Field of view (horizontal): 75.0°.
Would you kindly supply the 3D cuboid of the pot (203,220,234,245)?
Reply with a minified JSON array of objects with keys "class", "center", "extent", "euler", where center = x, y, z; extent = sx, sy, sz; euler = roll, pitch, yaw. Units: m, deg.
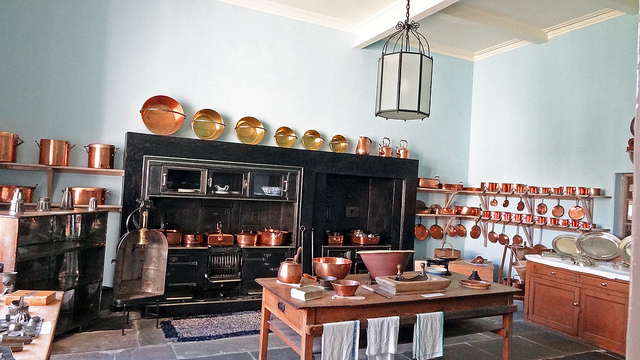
[{"class":"pot","center":[-1.977,1.012,8.102],"extent":[0.632,0.361,0.650],"euler":[6,4,0]}]

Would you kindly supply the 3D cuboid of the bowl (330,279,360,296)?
[{"class":"bowl","center":[0.329,1.463,5.634],"extent":[0.376,0.174,0.295],"euler":[0,-3,-3]}]

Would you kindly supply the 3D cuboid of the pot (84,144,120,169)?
[{"class":"pot","center":[-4.084,-0.419,7.599],"extent":[0.780,0.457,0.499],"euler":[2,-4,-29]}]

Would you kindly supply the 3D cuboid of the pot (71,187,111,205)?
[{"class":"pot","center":[-4.063,0.327,7.332],"extent":[0.582,0.239,0.326],"euler":[1,-5,-14]}]

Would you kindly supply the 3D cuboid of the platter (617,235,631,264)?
[{"class":"platter","center":[5.054,1.169,6.933],"extent":[0.151,0.420,0.247],"euler":[-3,-4,39]}]

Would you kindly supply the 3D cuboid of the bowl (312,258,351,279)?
[{"class":"bowl","center":[0.161,1.243,5.948],"extent":[0.384,0.146,0.351],"euler":[1,-6,0]}]

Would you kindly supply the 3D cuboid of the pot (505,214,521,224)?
[{"class":"pot","center":[4.150,0.835,8.927],"extent":[0.168,0.211,0.152],"euler":[0,-13,25]}]

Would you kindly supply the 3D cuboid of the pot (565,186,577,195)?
[{"class":"pot","center":[4.883,0.211,8.128],"extent":[0.164,0.147,0.150],"euler":[0,-2,0]}]

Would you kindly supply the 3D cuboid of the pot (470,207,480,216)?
[{"class":"pot","center":[3.578,0.734,9.635],"extent":[0.189,0.190,0.107],"euler":[1,-4,-28]}]

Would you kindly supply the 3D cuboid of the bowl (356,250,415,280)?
[{"class":"bowl","center":[0.957,1.213,6.225],"extent":[0.720,0.417,0.616],"euler":[2,0,-9]}]

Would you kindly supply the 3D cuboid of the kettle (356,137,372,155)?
[{"class":"kettle","center":[0.949,-0.727,8.979],"extent":[0.430,0.355,0.284],"euler":[5,-6,-33]}]

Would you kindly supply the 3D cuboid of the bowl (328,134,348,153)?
[{"class":"bowl","center":[0.398,-0.797,8.956],"extent":[0.449,0.374,0.112],"euler":[1,-3,-25]}]

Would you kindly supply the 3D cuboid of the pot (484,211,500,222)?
[{"class":"pot","center":[3.848,0.817,9.299],"extent":[0.279,0.216,0.323],"euler":[1,3,8]}]

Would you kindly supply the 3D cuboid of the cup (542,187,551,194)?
[{"class":"cup","center":[4.617,0.219,8.498],"extent":[0.155,0.130,0.145],"euler":[0,-3,0]}]

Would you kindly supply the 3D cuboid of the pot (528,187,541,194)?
[{"class":"pot","center":[4.394,0.212,8.554],"extent":[0.136,0.108,0.136],"euler":[1,2,0]}]

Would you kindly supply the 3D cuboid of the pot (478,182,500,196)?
[{"class":"pot","center":[3.785,0.210,9.337],"extent":[0.354,0.209,0.346],"euler":[1,-2,0]}]

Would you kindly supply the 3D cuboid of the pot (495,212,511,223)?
[{"class":"pot","center":[3.992,0.786,9.031],"extent":[0.182,0.158,0.156],"euler":[-2,7,-40]}]

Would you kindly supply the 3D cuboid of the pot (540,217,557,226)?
[{"class":"pot","center":[4.643,0.848,8.446],"extent":[0.256,0.151,0.193],"euler":[0,-3,-9]}]

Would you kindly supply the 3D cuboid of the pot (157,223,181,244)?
[{"class":"pot","center":[-2.722,1.005,7.510],"extent":[0.489,0.223,0.298],"euler":[4,-15,-12]}]

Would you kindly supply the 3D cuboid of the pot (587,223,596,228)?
[{"class":"pot","center":[5.162,0.874,7.914],"extent":[0.100,0.061,0.092],"euler":[0,-1,0]}]

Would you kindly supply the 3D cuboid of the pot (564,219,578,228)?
[{"class":"pot","center":[4.895,0.847,8.083],"extent":[0.170,0.134,0.066],"euler":[-2,-4,31]}]

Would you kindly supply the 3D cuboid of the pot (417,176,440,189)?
[{"class":"pot","center":[2.451,0.081,9.494],"extent":[0.554,0.245,0.145],"euler":[1,-3,-19]}]
